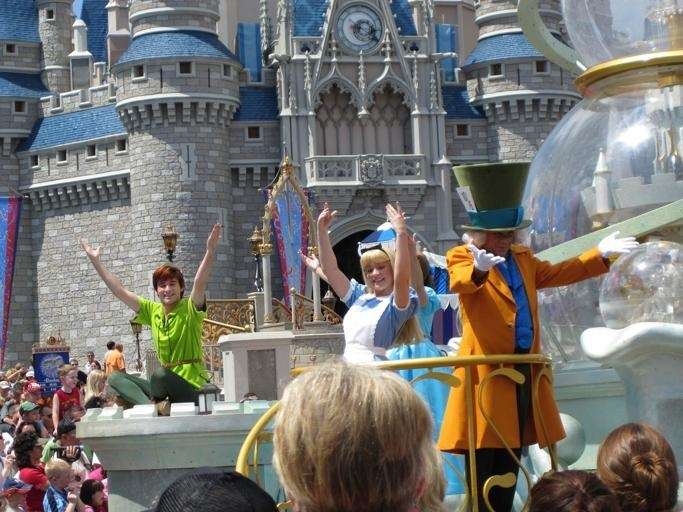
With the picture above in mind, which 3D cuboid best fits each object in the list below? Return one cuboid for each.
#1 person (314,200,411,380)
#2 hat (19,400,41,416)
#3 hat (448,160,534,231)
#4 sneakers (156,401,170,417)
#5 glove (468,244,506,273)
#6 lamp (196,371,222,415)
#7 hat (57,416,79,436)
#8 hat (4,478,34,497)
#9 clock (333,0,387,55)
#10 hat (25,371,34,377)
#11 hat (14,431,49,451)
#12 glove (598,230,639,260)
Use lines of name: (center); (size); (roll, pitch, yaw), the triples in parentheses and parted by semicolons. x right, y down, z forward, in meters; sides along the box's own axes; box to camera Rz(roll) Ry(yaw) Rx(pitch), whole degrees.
person: (0.210, 0.207, 12.616); (0.884, 1.329, 0.572); (-5, -6, 22)
hat: (-3.291, 1.562, 16.009); (0.157, 0.086, 0.113); (-19, -10, 14)
hat: (1.285, -0.469, 12.390); (0.625, 0.486, 0.597); (-5, 1, 12)
sneakers: (-1.501, 1.270, 12.865); (0.101, 0.169, 0.135); (8, -9, -42)
glove: (1.150, 0.001, 12.030); (0.280, 0.226, 0.156); (-3, -6, 4)
lamp: (-1.111, 1.166, 12.749); (0.186, 0.266, 0.273); (-2, -6, -6)
hat: (-2.654, 1.619, 14.686); (0.183, 0.180, 0.502); (-2, -6, -10)
hat: (-2.957, 2.070, 13.850); (0.227, 0.157, 0.413); (-2, -5, -7)
clock: (0.340, -4.451, 30.106); (1.190, 1.122, 0.118); (0, -9, -26)
hat: (-4.559, 1.683, 22.236); (0.155, 0.099, 0.209); (0, -11, -15)
hat: (-2.918, 1.682, 14.232); (0.366, 0.141, 0.240); (-5, -6, -5)
glove: (2.213, -0.096, 12.148); (0.279, 0.207, 0.082); (-9, -36, -13)
